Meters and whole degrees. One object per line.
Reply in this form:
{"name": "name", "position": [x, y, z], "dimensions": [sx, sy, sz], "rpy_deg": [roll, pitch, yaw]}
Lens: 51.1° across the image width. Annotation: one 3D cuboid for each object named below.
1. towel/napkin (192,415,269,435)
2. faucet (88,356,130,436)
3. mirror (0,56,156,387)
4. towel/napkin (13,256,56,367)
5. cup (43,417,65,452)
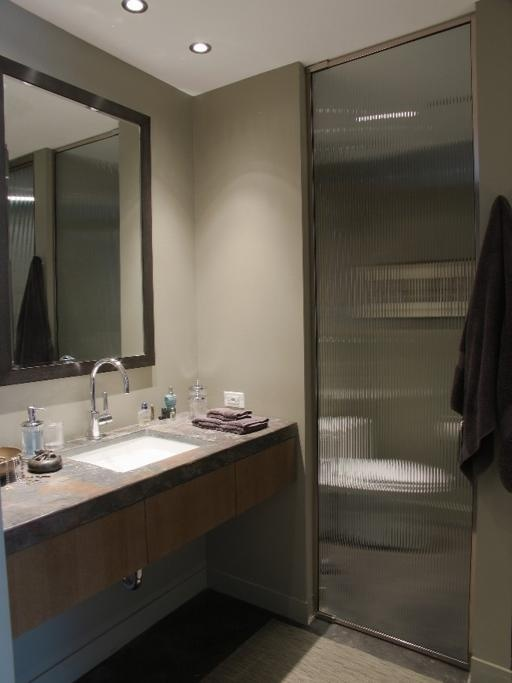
{"name": "towel/napkin", "position": [-0.111, 0.344, 2.198], "dimensions": [0.319, 0.043, 0.176], "rpy_deg": [-1, 3, -2]}
{"name": "faucet", "position": [-0.567, 0.211, 2.055], "dimensions": [0.145, 0.298, 0.317], "rpy_deg": [-1, 3, -17]}
{"name": "mirror", "position": [-0.641, -0.410, 2.039], "dimensions": [0.027, 1.076, 0.755], "rpy_deg": [1, 2, 31]}
{"name": "towel/napkin", "position": [-0.765, -0.103, 1.840], "dimensions": [0.019, 0.370, 0.160], "rpy_deg": [0, 2, 23]}
{"name": "cup", "position": [-0.709, 0.340, 1.884], "dimensions": [0.069, 0.106, 0.058], "rpy_deg": [4, -4, -18]}
